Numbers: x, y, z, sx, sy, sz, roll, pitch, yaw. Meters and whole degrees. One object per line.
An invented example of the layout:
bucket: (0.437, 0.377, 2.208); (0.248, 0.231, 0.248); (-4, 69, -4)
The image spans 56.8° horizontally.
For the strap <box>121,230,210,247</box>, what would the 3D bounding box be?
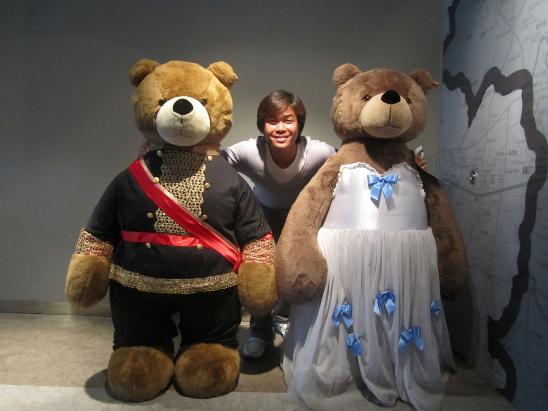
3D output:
strap: (-0.547, 0.169, 2.526); (0.430, 0.064, 0.083); (2, -3, 11)

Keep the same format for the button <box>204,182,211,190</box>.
button: (-0.338, -0.098, 2.550); (0.028, 0.026, 0.020); (6, -37, -12)

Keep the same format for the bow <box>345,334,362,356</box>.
bow: (0.382, 0.694, 2.533); (0.080, 0.104, 0.055); (-17, -1, 4)

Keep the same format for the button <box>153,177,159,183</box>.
button: (-0.591, -0.126, 2.528); (0.027, 0.021, 0.040); (17, -26, -11)

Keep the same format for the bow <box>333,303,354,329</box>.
bow: (0.334, 0.547, 2.488); (0.097, 0.107, 0.056); (2, -9, 3)

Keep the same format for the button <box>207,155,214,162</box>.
button: (-0.334, -0.241, 2.612); (0.027, 0.025, 0.006); (6, -22, -22)

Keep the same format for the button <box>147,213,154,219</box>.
button: (-0.611, 0.054, 2.499); (0.032, 0.027, 0.011); (3, -3, -2)

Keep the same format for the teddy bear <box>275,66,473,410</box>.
teddy bear: (0.514, 0.128, 2.634); (0.996, 1.762, 0.320); (3, -3, -1)

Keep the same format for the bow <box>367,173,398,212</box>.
bow: (0.526, -0.070, 2.610); (0.146, 0.181, 0.154); (2, 12, 4)

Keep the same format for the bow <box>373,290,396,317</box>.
bow: (0.534, 0.477, 2.476); (0.104, 0.114, 0.062); (10, -1, 4)

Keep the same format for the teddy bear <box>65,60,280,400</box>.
teddy bear: (-0.495, 0.090, 2.570); (0.985, 1.705, 0.397); (4, -3, -21)
